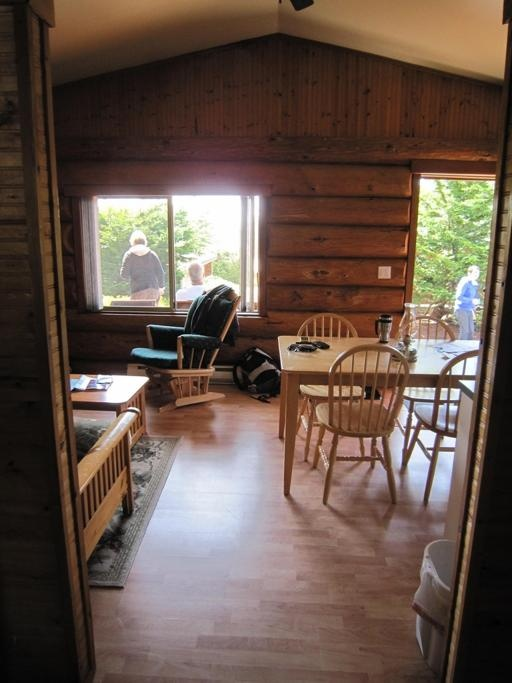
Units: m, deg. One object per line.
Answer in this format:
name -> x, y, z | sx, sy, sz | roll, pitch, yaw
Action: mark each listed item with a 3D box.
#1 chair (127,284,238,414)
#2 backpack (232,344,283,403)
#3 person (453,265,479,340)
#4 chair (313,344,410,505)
chair -> -0.610, 0.011, 4.735 | 0.909, 0.924, 0.884 | 5, 11, 14
backpack -> 0.009, 0.294, 4.911 | 0.490, 0.483, 0.379 | -7, 6, 15
person -> 2.516, -0.428, 6.427 | 0.259, 0.919, 0.592 | 6, 14, 20
chair -> 0.576, 0.397, 3.071 | 0.507, 0.946, 0.966 | 3, 13, 9
